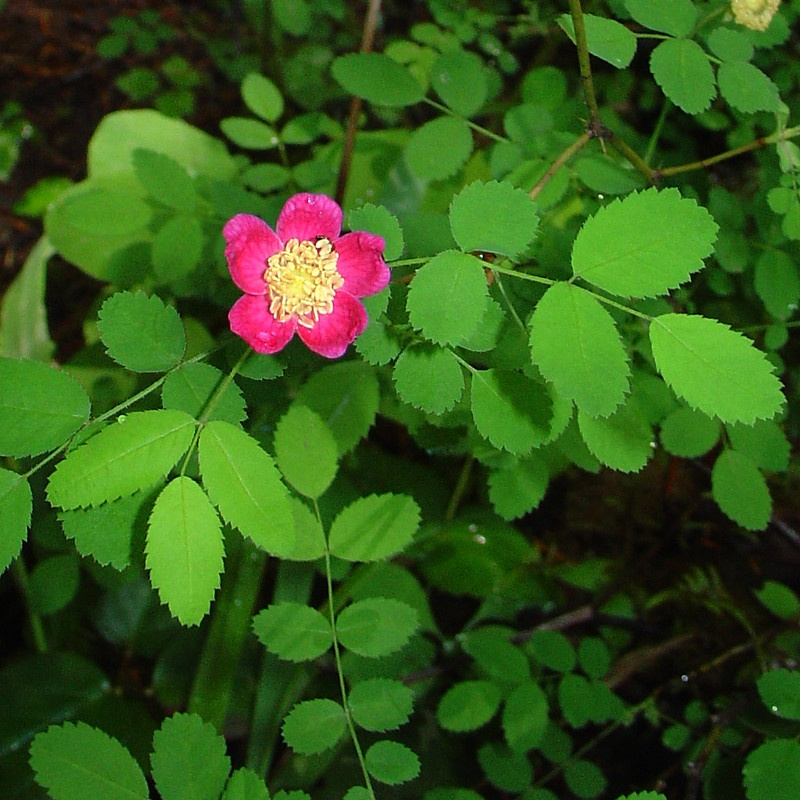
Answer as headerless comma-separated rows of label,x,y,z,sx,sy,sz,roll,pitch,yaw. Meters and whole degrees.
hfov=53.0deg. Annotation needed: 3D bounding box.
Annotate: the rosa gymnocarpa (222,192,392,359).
rosa gymnocarpa,-0.215,-0.284,1.799,0.373,0.249,0.294,16,54,-11
